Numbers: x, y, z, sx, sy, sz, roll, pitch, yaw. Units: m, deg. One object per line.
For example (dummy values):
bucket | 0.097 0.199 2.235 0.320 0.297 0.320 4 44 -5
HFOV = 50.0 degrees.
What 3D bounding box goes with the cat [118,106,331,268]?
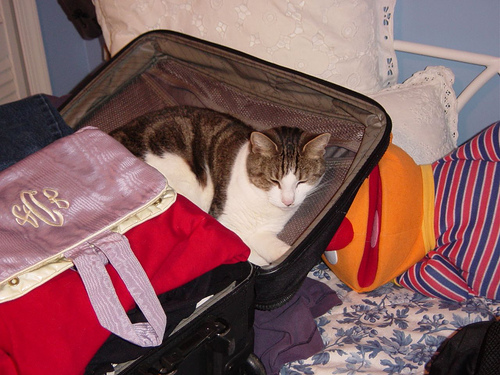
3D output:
cat | -0.076 -0.057 1.481 0.592 0.324 0.358 23 29 14
